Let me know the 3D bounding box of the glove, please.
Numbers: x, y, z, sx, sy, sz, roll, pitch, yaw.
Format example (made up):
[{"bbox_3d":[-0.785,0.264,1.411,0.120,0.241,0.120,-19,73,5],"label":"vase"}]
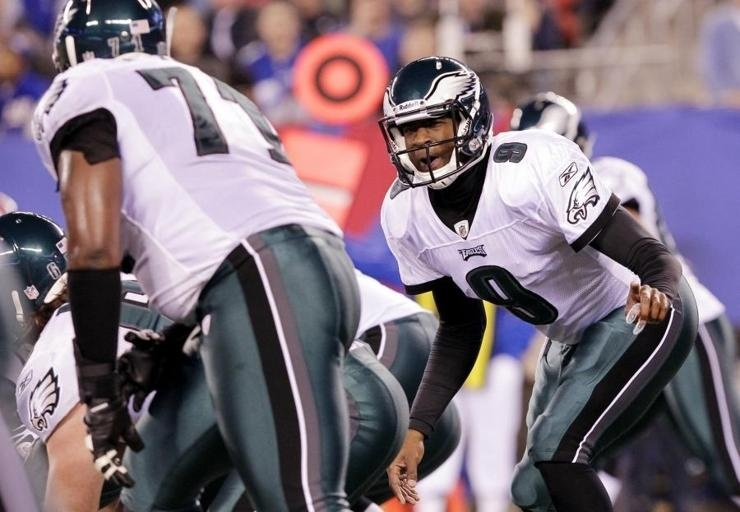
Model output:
[{"bbox_3d":[-0.747,0.414,2.775,0.304,0.482,0.164,28,-39,-35],"label":"glove"}]

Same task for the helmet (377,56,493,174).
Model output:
[{"bbox_3d":[0.254,-0.548,3.506,0.344,0.380,0.466,-14,19,32],"label":"helmet"}]
